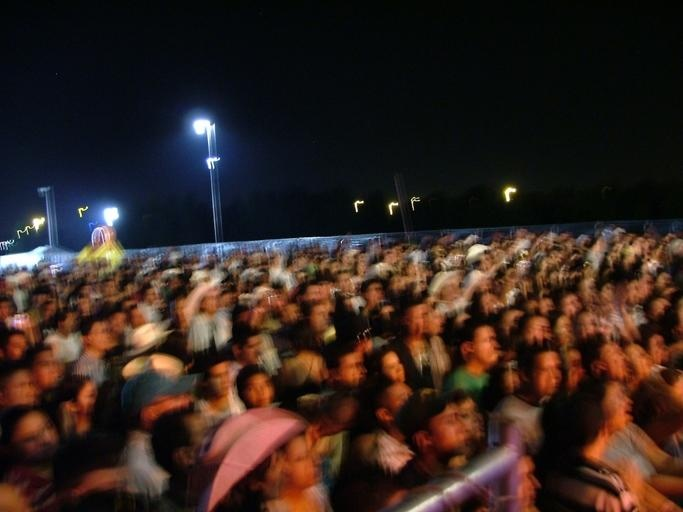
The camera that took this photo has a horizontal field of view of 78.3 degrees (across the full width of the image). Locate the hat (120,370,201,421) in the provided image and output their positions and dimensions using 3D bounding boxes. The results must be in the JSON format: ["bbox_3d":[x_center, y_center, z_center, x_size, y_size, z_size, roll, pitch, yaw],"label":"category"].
[{"bbox_3d":[-1.763,1.243,4.009,0.516,0.268,0.387,-26,26,-38],"label":"hat"}]
